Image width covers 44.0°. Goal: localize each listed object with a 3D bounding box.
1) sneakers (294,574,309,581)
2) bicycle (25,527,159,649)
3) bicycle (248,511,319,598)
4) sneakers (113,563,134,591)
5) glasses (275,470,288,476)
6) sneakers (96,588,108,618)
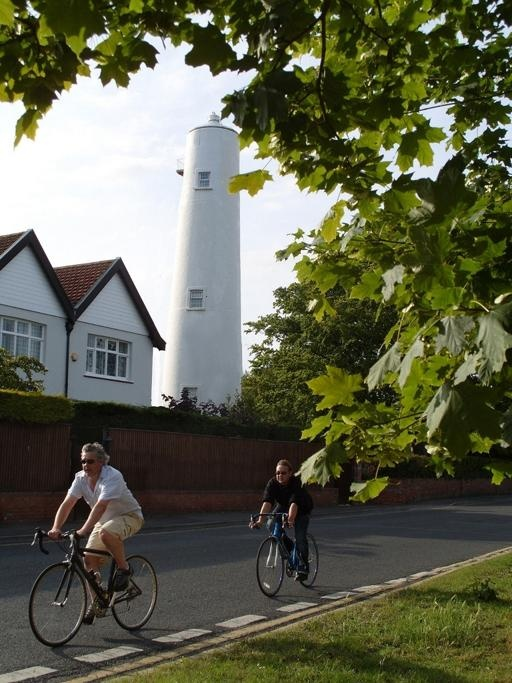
[{"bbox_3d":[0.598,3.123,8.385,0.139,0.115,0.112,0,-2,43],"label":"sneakers"},{"bbox_3d":[-1.468,2.245,5.959,0.360,1.127,1.455,-1,-4,36],"label":"bicycle"},{"bbox_3d":[0.410,2.772,8.384,0.522,1.083,1.250,0,-4,25],"label":"bicycle"},{"bbox_3d":[-1.267,2.245,6.034,0.098,0.117,0.278,-4,14,14],"label":"sneakers"},{"bbox_3d":[0.329,1.697,8.227,0.138,0.094,0.148,1,-4,12],"label":"glasses"},{"bbox_3d":[-1.436,2.403,5.833,0.101,0.240,0.177,-6,-7,13],"label":"sneakers"}]
